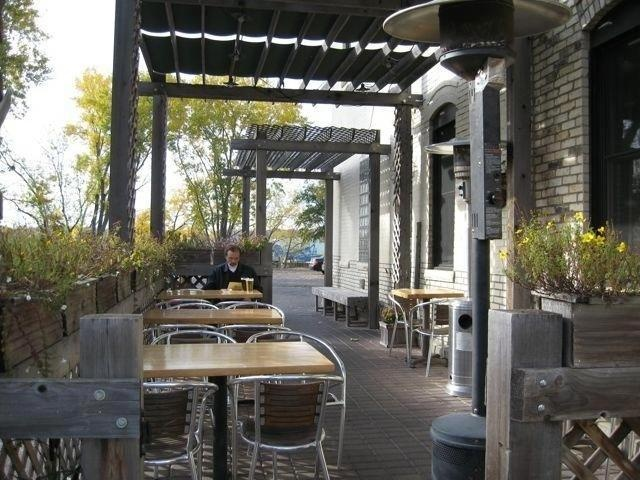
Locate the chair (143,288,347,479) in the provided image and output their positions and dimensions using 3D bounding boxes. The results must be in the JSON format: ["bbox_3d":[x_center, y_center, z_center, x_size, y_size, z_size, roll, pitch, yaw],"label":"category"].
[{"bbox_3d":[-0.584,0.792,4.170,1.023,1.219,1.116,0,2,-13],"label":"chair"}]

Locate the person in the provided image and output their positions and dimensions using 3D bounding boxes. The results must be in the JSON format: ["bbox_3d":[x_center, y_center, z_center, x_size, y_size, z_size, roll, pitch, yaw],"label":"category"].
[{"bbox_3d":[-1.204,0.461,8.534,0.722,0.781,0.452,2,18,-7],"label":"person"}]

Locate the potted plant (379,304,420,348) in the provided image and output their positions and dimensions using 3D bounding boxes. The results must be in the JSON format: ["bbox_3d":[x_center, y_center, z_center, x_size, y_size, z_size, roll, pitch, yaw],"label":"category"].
[{"bbox_3d":[1.137,1.147,9.076,0.427,0.666,0.654,-1,2,-8],"label":"potted plant"}]

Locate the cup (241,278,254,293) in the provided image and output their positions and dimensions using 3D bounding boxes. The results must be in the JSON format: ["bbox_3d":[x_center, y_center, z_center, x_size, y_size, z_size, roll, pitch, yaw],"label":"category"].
[{"bbox_3d":[-0.884,0.543,7.587,0.148,0.182,0.106,-1,3,-12],"label":"cup"}]

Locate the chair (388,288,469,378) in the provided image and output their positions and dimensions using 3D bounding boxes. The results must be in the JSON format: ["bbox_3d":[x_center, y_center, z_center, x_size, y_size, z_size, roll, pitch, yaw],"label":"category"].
[{"bbox_3d":[1.345,1.172,8.096,0.912,1.041,0.820,0,-1,-25],"label":"chair"}]

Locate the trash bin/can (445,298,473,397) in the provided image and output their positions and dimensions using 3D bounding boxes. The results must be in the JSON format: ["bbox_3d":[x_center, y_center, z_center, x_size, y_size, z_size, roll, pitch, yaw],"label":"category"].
[{"bbox_3d":[1.459,1.116,6.508,0.248,0.980,0.416,0,-2,11],"label":"trash bin/can"}]

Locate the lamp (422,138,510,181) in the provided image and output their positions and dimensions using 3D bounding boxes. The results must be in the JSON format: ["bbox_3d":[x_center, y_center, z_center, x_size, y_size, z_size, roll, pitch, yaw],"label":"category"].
[{"bbox_3d":[1.523,-0.961,6.947,0.681,0.436,0.758,0,-1,2],"label":"lamp"}]
